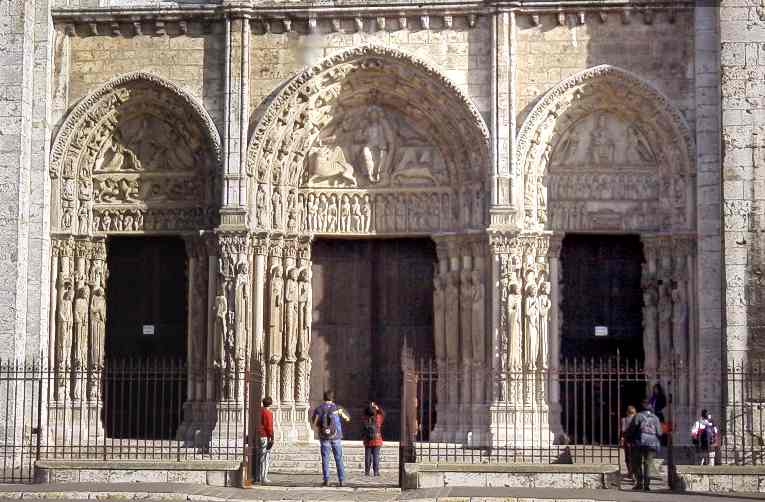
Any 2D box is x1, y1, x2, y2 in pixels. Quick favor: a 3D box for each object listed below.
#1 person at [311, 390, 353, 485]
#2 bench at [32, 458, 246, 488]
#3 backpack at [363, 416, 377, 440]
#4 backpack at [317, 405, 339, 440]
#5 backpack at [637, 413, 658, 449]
[{"bbox_3d":[-1.167,4.282,44.717,1.142,1.931,0.836,1,17,-3],"label":"person"},{"bbox_3d":[-5.486,4.968,43.807,4.629,0.619,0.251,-1,-8,2],"label":"bench"},{"bbox_3d":[-0.277,4.124,45.544,0.355,0.657,0.281,-1,-8,-2],"label":"backpack"},{"bbox_3d":[-1.280,3.921,44.712,0.512,0.697,0.247,0,-8,-8],"label":"backpack"},{"bbox_3d":[6.030,4.037,44.164,0.570,0.865,0.267,0,-8,-6],"label":"backpack"}]
